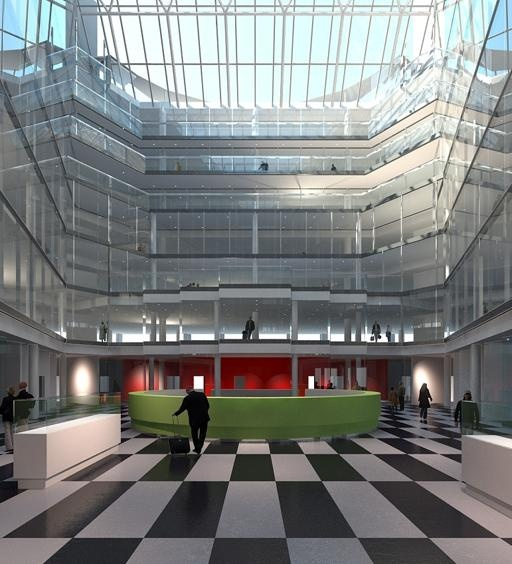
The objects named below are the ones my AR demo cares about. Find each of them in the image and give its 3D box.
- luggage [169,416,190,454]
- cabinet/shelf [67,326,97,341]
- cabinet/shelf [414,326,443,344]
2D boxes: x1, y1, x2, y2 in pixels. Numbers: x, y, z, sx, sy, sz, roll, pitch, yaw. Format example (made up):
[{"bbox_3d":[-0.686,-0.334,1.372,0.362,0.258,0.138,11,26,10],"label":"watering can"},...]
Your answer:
[{"bbox_3d":[-1.477,2.861,9.972,0.368,0.924,0.313,4,-4,-36],"label":"luggage"},{"bbox_3d":[-7.821,2.353,23.556,0.414,0.711,2.617,0,-7,4],"label":"cabinet/shelf"},{"bbox_3d":[7.990,2.451,23.769,0.603,0.849,1.126,4,-5,-16],"label":"cabinet/shelf"}]
